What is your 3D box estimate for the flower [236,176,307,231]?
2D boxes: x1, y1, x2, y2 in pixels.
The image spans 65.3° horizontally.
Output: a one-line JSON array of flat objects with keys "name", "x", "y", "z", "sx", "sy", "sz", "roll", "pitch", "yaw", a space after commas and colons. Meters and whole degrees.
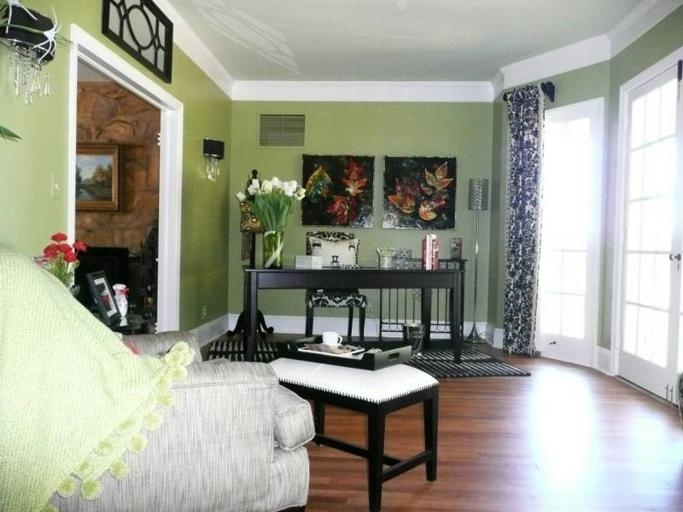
[{"name": "flower", "x": -0.618, "y": -0.456, "z": 4.688, "sx": 0.549, "sy": 0.488, "sz": 0.617, "roll": -8, "pitch": -12, "yaw": 20}]

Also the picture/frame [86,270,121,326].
[{"name": "picture/frame", "x": -1.623, "y": 0.289, "z": 3.589, "sx": 0.085, "sy": 0.298, "sz": 0.250, "roll": -22, "pitch": 14, "yaw": 2}]

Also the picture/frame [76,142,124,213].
[{"name": "picture/frame", "x": -2.675, "y": -0.878, "z": 5.897, "sx": 0.752, "sy": 0.840, "sz": 0.063, "roll": 0, "pitch": -2, "yaw": 1}]

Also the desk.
[{"name": "desk", "x": 0.087, "y": 0.511, "z": 5.060, "sx": 1.914, "sy": 0.978, "sz": 0.829, "roll": 0, "pitch": 9, "yaw": -7}]

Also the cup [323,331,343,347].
[{"name": "cup", "x": -0.059, "y": 0.466, "z": 2.996, "sx": 0.092, "sy": 0.074, "sz": 0.073, "roll": 5, "pitch": 2, "yaw": 29}]

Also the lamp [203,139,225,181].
[{"name": "lamp", "x": -1.353, "y": -0.997, "z": 5.589, "sx": 0.135, "sy": 0.386, "sz": 0.378, "roll": -1, "pitch": -1, "yaw": 21}]

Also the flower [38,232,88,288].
[{"name": "flower", "x": -1.584, "y": 0.026, "z": 2.972, "sx": 0.266, "sy": 0.337, "sz": 0.326, "roll": -1, "pitch": 1, "yaw": 7}]

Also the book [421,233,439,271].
[{"name": "book", "x": 0.780, "y": -0.031, "z": 4.879, "sx": 0.246, "sy": 0.371, "sz": 0.265, "roll": 0, "pitch": 3, "yaw": 8}]

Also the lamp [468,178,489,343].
[{"name": "lamp", "x": 1.547, "y": 0.045, "z": 6.172, "sx": 0.241, "sy": 1.929, "sz": 0.336, "roll": 2, "pitch": 0, "yaw": 15}]
